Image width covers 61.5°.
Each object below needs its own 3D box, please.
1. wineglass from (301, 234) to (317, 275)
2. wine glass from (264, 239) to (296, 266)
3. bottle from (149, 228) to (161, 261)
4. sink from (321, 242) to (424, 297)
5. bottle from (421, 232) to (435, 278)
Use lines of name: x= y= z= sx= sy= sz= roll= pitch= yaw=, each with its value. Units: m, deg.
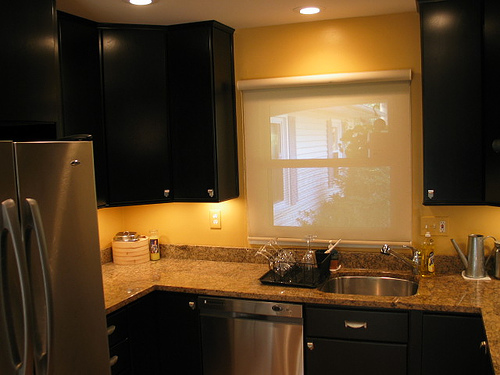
wineglass: x=0.419 y=0.467 z=2.996 sx=0.114 sy=0.250 sz=0.414 roll=-1 pitch=6 yaw=9
wine glass: x=0.208 y=0.468 z=3.080 sx=0.202 sy=0.118 sz=0.118 roll=31 pitch=27 yaw=30
bottle: x=-0.793 y=0.468 z=3.504 sx=0.081 sy=0.251 sz=0.127 roll=-2 pitch=5 yaw=-9
sink: x=0.909 y=0.524 z=3.065 sx=0.573 sy=0.612 sz=0.377 roll=1 pitch=1 yaw=15
bottle: x=1.224 y=0.448 z=2.896 sx=0.086 sy=0.303 sz=0.173 roll=1 pitch=5 yaw=23
